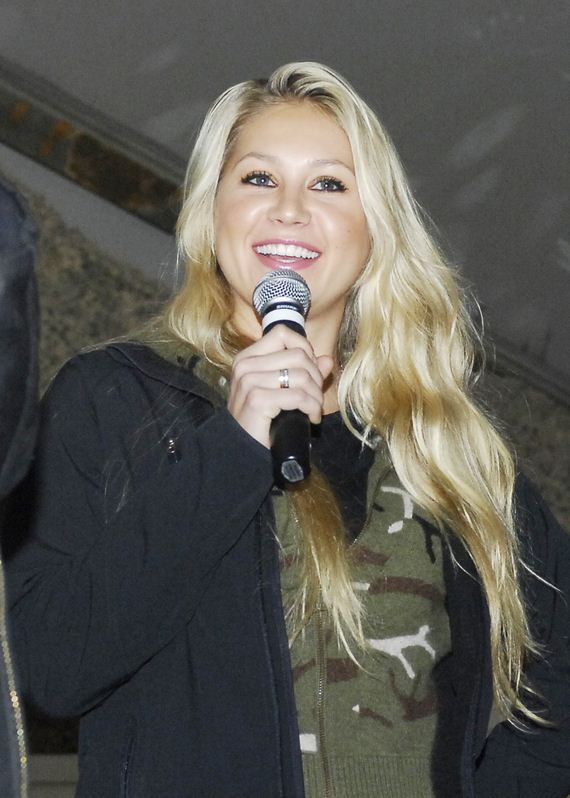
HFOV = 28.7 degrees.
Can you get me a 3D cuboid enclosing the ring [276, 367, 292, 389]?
[{"bbox_3d":[-0.001,-0.029,1.664,0.021,0.028,0.012,-6,-21,18],"label":"ring"}]
